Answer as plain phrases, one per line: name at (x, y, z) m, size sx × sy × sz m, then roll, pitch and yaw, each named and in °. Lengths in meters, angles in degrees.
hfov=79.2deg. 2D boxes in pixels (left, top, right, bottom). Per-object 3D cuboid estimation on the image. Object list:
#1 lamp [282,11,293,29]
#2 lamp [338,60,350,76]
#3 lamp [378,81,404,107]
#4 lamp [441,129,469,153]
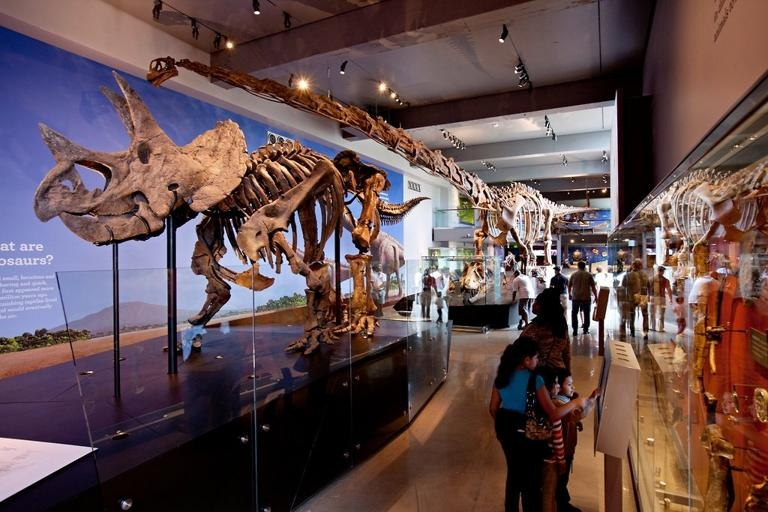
lamp at (-1.175, -2.988, 5.880) m, size 0.104 × 0.192 × 0.116 m, roll 0°, pitch 15°, yaw 4°
lamp at (-0.567, -2.728, 6.671) m, size 0.089 × 0.243 × 0.099 m, roll 31°, pitch -4°, yaw 31°
lamp at (0.131, -2.738, 7.850) m, size 0.138 × 0.163 × 0.554 m, roll 47°, pitch 15°, yaw 27°
lamp at (1.592, -2.647, 10.667) m, size 0.271 × 0.268 × 1.885 m, roll 13°, pitch 11°, yaw 13°
